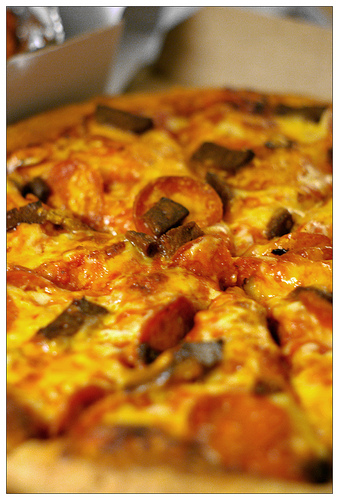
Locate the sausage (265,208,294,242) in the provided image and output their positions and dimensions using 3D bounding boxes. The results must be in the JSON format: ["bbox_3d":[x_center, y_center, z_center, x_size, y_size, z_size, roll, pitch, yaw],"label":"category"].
[{"bbox_3d":[0.306,-0.073,1.281,0.066,0.026,0.098,32,71,10],"label":"sausage"}]

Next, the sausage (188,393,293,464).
[{"bbox_3d":[0.109,0.276,0.707,0.158,0.031,0.099,1,50,3],"label":"sausage"}]

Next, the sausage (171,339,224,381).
[{"bbox_3d":[0.049,0.189,0.788,0.075,0.017,0.073,-28,33,-22],"label":"sausage"}]

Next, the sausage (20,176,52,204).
[{"bbox_3d":[-0.401,-0.186,1.382,0.080,0.034,0.080,-42,77,-9],"label":"sausage"}]

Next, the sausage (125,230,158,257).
[{"bbox_3d":[-0.063,-0.019,1.097,0.067,0.070,0.020,36,103,9],"label":"sausage"}]

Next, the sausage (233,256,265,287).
[{"bbox_3d":[0.197,0.055,1.079,0.069,0.021,0.065,-22,37,-1],"label":"sausage"}]

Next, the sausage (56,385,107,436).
[{"bbox_3d":[-0.156,0.262,0.761,0.101,0.022,0.036,-36,58,-25],"label":"sausage"}]

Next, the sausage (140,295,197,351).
[{"bbox_3d":[0.003,0.135,0.859,0.129,0.064,0.035,-38,15,-27],"label":"sausage"}]

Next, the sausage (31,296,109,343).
[{"bbox_3d":[-0.187,0.132,0.849,0.065,0.026,0.117,33,57,24],"label":"sausage"}]
